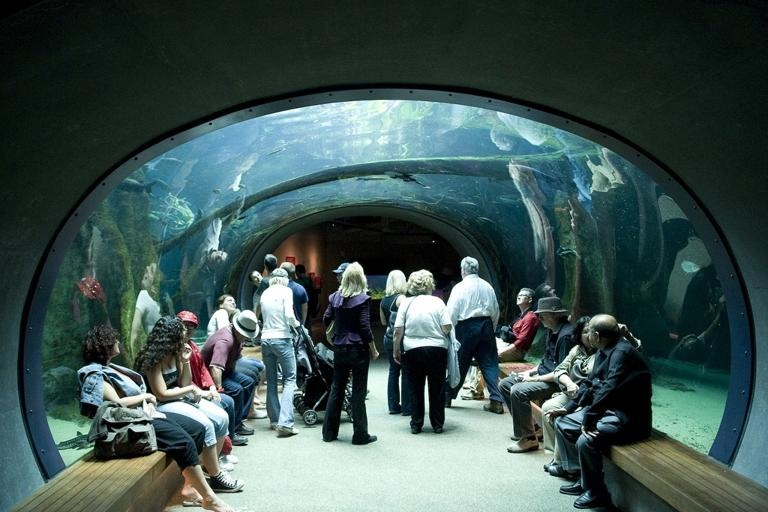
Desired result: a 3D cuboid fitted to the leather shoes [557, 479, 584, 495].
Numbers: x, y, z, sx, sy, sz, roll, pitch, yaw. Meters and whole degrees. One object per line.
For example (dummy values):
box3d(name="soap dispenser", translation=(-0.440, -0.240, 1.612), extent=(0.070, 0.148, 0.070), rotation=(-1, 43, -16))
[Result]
box3d(name="leather shoes", translation=(2.101, 2.595, 5.947), extent=(0.352, 0.139, 0.124), rotation=(2, -7, 7))

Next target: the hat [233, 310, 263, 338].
box3d(name="hat", translation=(-1.909, 0.882, 7.388), extent=(0.370, 0.164, 0.424), rotation=(45, 9, -28))

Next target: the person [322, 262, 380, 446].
box3d(name="person", translation=(-0.490, 1.352, 7.449), extent=(0.776, 2.225, 0.620), rotation=(-1, 0, -7))

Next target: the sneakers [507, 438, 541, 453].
box3d(name="sneakers", translation=(1.881, 2.531, 7.115), extent=(0.382, 0.156, 0.176), rotation=(2, -6, -8))

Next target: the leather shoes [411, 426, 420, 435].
box3d(name="leather shoes", translation=(0.459, 2.575, 7.827), extent=(0.137, 0.127, 0.085), rotation=(-2, 0, 18))

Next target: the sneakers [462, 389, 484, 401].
box3d(name="sneakers", translation=(1.665, 2.632, 9.970), extent=(0.459, 0.205, 0.168), rotation=(3, -13, 0))

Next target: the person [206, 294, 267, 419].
box3d(name="person", translation=(-2.134, 1.547, 7.940), extent=(0.725, 1.273, 0.564), rotation=(8, 4, 5))

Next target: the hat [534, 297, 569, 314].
box3d(name="hat", translation=(2.307, 0.686, 7.191), extent=(0.438, 0.213, 0.400), rotation=(7, -4, 2))

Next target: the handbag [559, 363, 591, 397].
box3d(name="handbag", translation=(2.284, 1.515, 6.335), extent=(0.152, 0.274, 0.366), rotation=(19, 1, -14))

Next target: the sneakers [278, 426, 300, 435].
box3d(name="sneakers", translation=(-1.381, 2.556, 7.779), extent=(0.135, 0.127, 0.337), rotation=(0, -5, 27))

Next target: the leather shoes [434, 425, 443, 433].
box3d(name="leather shoes", translation=(0.811, 2.553, 7.793), extent=(0.116, 0.079, 0.112), rotation=(0, 0, -10))

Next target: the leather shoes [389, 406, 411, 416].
box3d(name="leather shoes", translation=(0.294, 2.606, 8.870), extent=(0.403, 0.162, 0.132), rotation=(-3, -6, 13))

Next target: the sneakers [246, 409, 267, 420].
box3d(name="sneakers", translation=(-2.093, 2.661, 8.869), extent=(0.244, 0.092, 0.129), rotation=(-1, 0, -1))

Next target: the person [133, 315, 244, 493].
box3d(name="person", translation=(-2.111, 1.601, 5.803), extent=(1.347, 1.814, 0.669), rotation=(4, -4, 2))

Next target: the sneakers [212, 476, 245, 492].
box3d(name="sneakers", translation=(-1.752, 2.555, 6.005), extent=(0.402, 0.170, 0.155), rotation=(0, 2, -10))

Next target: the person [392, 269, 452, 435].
box3d(name="person", translation=(0.587, 1.418, 7.903), extent=(0.694, 2.224, 0.835), rotation=(-1, 0, -42))

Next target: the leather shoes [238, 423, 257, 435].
box3d(name="leather shoes", translation=(-2.018, 2.551, 7.802), extent=(0.283, 0.111, 0.117), rotation=(1, 0, -15))
